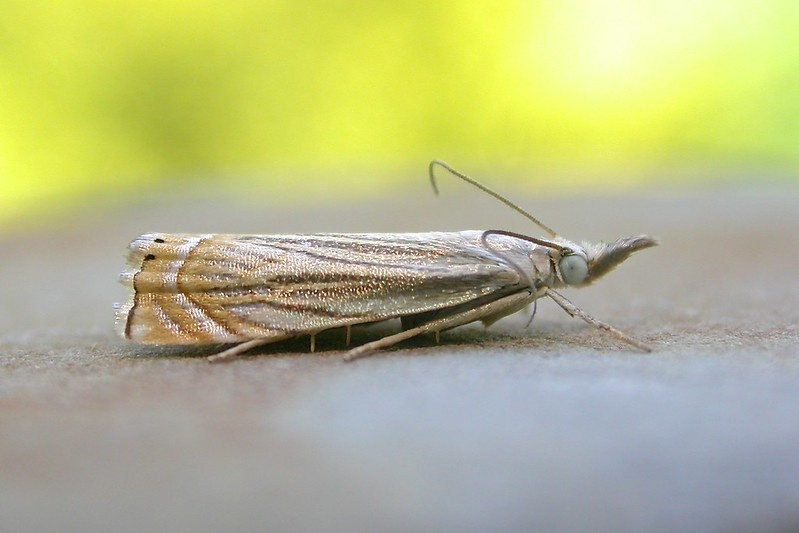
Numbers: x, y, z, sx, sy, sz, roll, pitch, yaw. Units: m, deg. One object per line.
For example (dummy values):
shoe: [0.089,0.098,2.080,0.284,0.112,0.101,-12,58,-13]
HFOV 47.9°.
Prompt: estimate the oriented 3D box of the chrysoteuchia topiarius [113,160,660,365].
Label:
chrysoteuchia topiarius: [-0.111,0.092,3.278,1.779,0.478,0.523,1,29,-6]
